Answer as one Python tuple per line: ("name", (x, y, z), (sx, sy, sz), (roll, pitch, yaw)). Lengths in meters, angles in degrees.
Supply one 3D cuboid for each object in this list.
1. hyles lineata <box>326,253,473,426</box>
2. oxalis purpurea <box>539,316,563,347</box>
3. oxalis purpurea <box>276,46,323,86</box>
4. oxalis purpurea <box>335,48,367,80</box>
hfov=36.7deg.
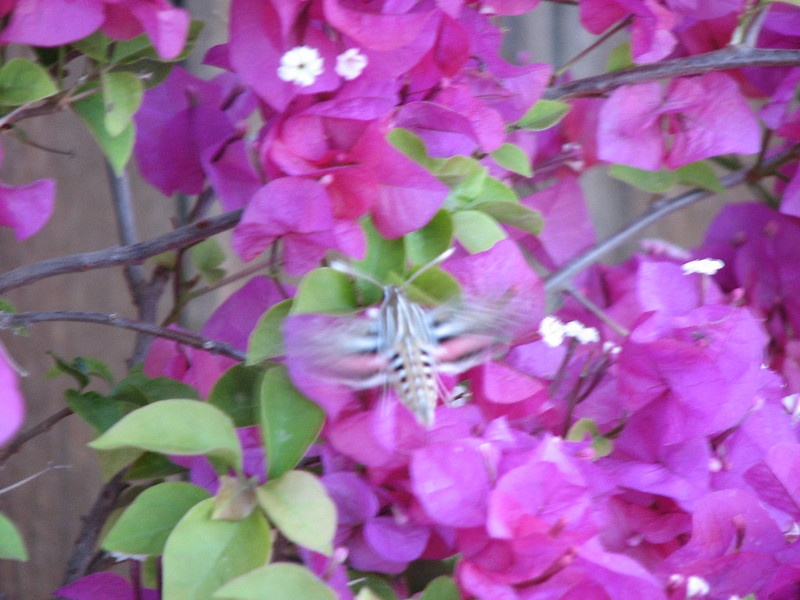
("hyles lineata", (-0.009, 0.026, 0.805), (0.088, 0.073, 0.090), (-5, -63, -3))
("oxalis purpurea", (0.108, 0.024, 0.870), (0.019, 0.005, 0.021), (4, -100, -39))
("oxalis purpurea", (-0.067, -0.157, 0.808), (0.027, 0.008, 0.027), (-11, -83, -15))
("oxalis purpurea", (-0.033, -0.159, 0.816), (0.020, 0.008, 0.020), (7, -89, -5))
